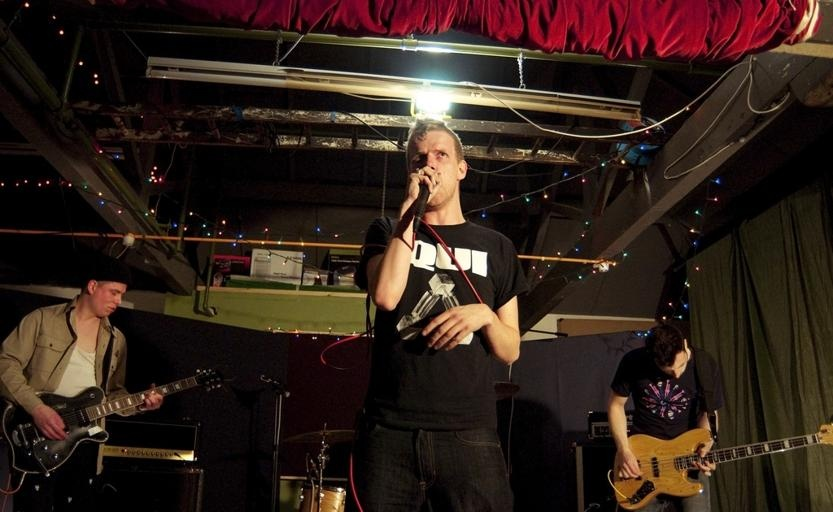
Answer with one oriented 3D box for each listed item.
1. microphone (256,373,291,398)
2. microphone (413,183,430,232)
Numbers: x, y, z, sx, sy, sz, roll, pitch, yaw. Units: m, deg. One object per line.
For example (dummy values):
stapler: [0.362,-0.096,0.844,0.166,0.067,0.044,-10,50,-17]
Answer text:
microphone: [-1.540,1.397,7.390,0.116,0.216,0.651,-25,19,-32]
microphone: [0.031,-0.342,4.526,0.069,0.420,0.061,2,-39,13]
